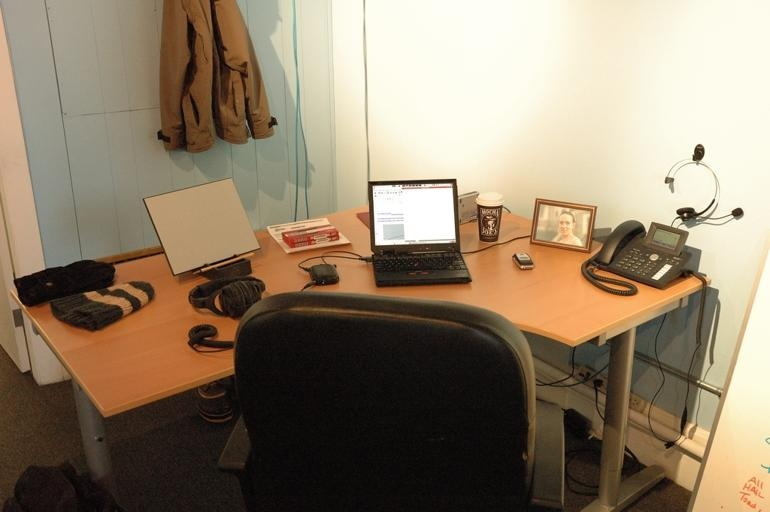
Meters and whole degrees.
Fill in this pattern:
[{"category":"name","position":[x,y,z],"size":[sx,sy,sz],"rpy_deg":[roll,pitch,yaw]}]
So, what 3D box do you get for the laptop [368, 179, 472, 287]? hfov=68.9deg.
[{"category":"laptop","position":[0.151,-0.131,2.671],"size":[0.520,0.388,0.478],"rpy_deg":[-3,35,-4]}]
